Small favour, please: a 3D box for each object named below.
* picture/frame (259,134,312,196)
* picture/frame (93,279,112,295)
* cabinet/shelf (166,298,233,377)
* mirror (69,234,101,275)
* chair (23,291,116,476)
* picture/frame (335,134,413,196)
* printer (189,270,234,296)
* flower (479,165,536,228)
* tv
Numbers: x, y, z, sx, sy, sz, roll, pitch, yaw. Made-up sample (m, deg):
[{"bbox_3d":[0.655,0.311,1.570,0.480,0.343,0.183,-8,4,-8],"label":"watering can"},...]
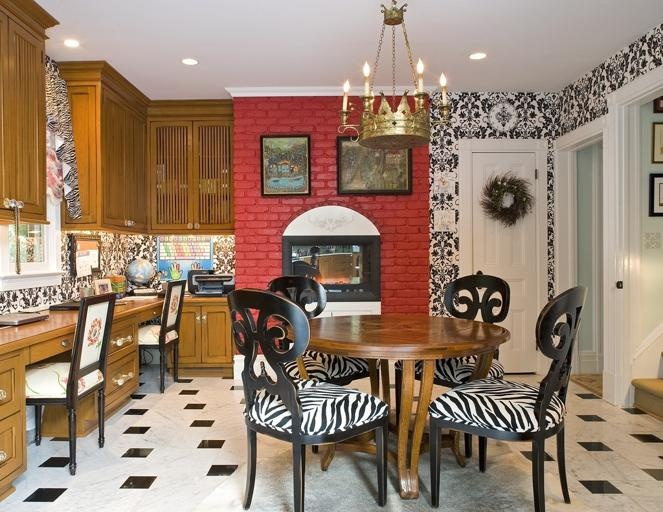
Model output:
[{"bbox_3d":[-0.488,-0.989,5.425,0.716,0.766,0.036,1,-2,-1],"label":"picture/frame"},{"bbox_3d":[-2.210,0.299,4.853,0.020,0.106,0.145,-20,-5,14],"label":"picture/frame"},{"bbox_3d":[-1.416,0.834,5.644,0.675,0.799,0.494,2,11,-2],"label":"cabinet/shelf"},{"bbox_3d":[-2.423,0.004,4.956,0.640,0.439,0.020,-1,1,37],"label":"mirror"},{"bbox_3d":[-1.970,0.887,3.585,0.770,1.124,0.649,-3,0,4],"label":"chair"},{"bbox_3d":[0.415,-0.889,5.002,0.740,0.487,0.032,0,3,-1],"label":"picture/frame"},{"bbox_3d":[-1.371,0.296,5.729,0.501,0.280,0.393,-2,2,-16],"label":"printer"},{"bbox_3d":[1.915,-0.628,5.481,0.576,0.611,0.158,-2,3,-10],"label":"flower"},{"bbox_3d":[0.029,0.119,5.212,0.759,0.492,0.096,0,-2,0],"label":"tv"}]
